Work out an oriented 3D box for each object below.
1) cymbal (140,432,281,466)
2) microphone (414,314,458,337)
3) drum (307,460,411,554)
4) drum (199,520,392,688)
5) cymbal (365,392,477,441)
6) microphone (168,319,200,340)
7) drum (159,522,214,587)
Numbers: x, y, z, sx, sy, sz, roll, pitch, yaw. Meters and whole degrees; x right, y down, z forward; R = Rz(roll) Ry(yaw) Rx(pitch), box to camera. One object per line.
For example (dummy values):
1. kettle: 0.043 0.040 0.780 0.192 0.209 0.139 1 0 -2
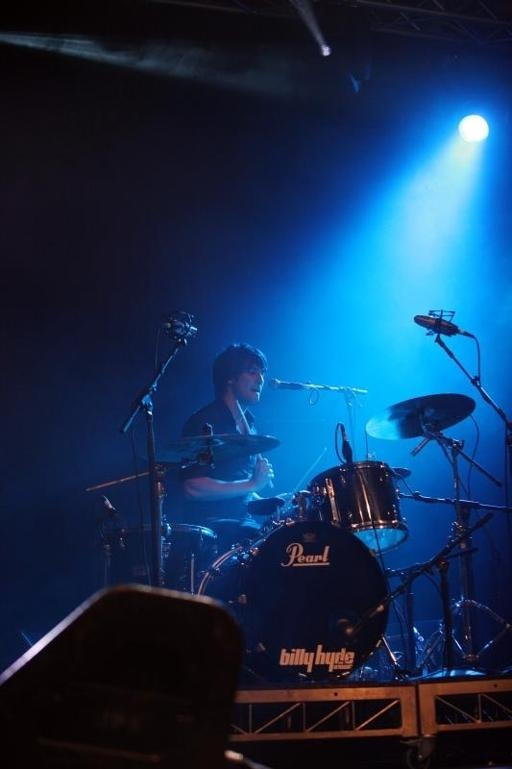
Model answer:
1. cymbal: -0.155 0.306 3.835 0.311 0.065 0.313 -22 -28 33
2. microphone: 1.017 -0.333 4.514 0.206 0.147 0.343 -5 -4 5
3. drum: 0.531 0.621 3.848 0.509 0.350 0.463 -3 -32 -2
4. drum: 0.218 0.967 3.635 0.737 0.726 0.927 25 -20 -20
5. cymbal: 0.859 0.171 4.229 0.537 0.166 0.687 -4 -4 3
6. microphone: -0.380 -0.278 3.929 0.120 0.054 0.151 21 -8 -23
7. drum: -0.281 0.848 3.900 0.323 0.313 0.318 -5 -18 15
